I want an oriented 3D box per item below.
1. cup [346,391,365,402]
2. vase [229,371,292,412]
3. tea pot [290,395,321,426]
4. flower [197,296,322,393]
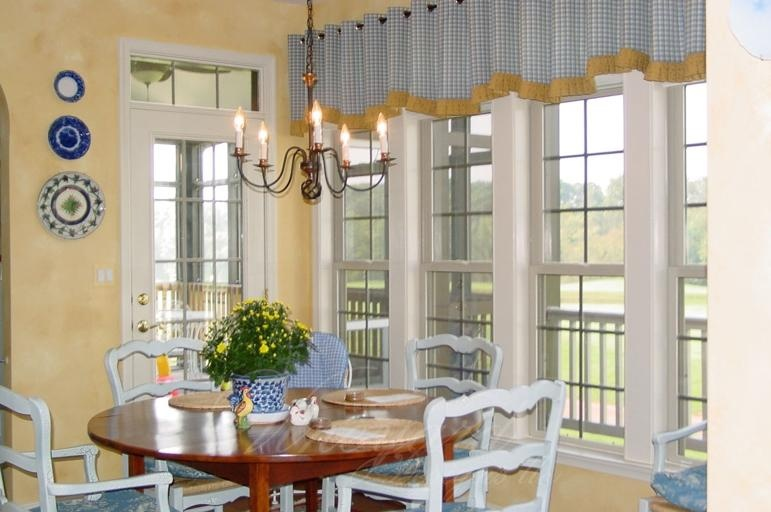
[{"bbox_3d":[-0.151,0.715,3.496,0.060,0.023,0.046,-3,5,-39],"label":"cup"},{"bbox_3d":[-0.591,0.621,3.176,0.208,0.148,0.178,-6,-7,30],"label":"vase"},{"bbox_3d":[-0.357,0.724,3.167,0.144,0.147,0.096,1,-4,1],"label":"tea pot"},{"bbox_3d":[-0.612,0.329,3.250,0.450,0.413,0.400,2,14,-33],"label":"flower"}]
